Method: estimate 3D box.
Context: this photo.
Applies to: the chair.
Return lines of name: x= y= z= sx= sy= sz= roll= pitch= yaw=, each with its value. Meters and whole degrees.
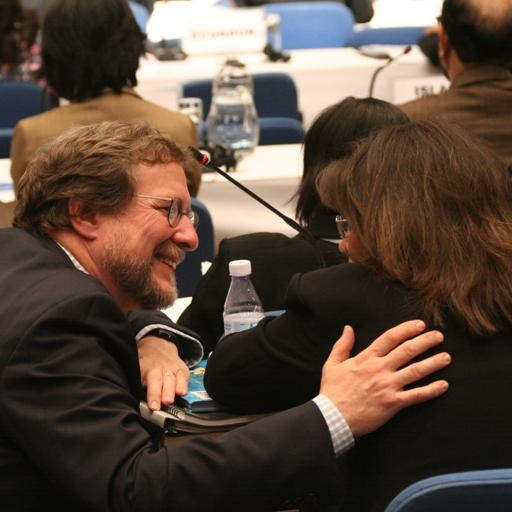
chair: x=-0.014 y=-0.008 z=1.261 sx=0.882 sy=0.641 sz=0.618 roll=-7 pitch=16 yaw=-9
